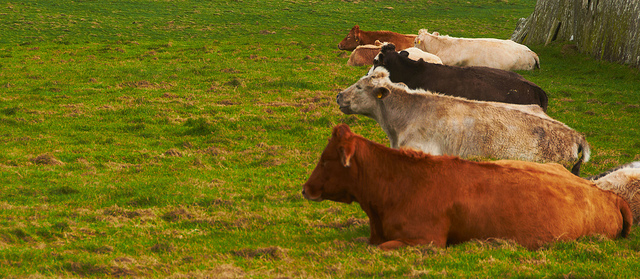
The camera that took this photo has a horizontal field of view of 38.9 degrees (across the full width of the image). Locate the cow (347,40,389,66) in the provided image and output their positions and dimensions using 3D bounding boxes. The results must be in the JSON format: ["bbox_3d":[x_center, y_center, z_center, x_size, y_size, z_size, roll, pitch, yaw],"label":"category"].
[{"bbox_3d":[4.310,-9.242,92.936,7.170,3.035,2.267,-1,1,6],"label":"cow"}]
